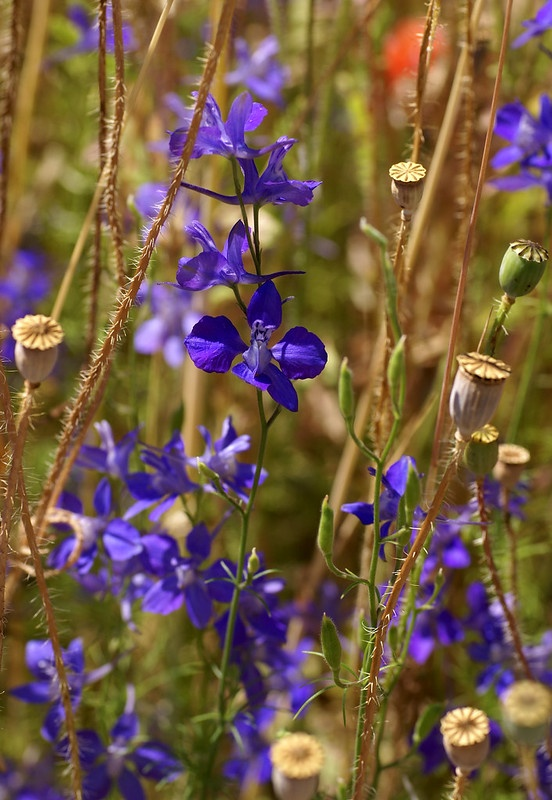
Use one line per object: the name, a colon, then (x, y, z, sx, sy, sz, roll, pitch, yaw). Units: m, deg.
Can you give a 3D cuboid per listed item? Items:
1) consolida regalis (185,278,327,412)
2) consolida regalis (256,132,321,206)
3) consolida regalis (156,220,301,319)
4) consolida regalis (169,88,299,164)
consolida regalis: (-0.006, -0.027, 0.490, 0.063, 0.049, 0.055, 19, 45, 21)
consolida regalis: (0.004, -0.112, 0.488, 0.025, 0.031, 0.032, -17, 44, -18)
consolida regalis: (-0.020, -0.072, 0.497, 0.054, 0.037, 0.057, -3, 10, -2)
consolida regalis: (-0.022, -0.142, 0.497, 0.035, 0.019, 0.046, -6, -1, 43)
